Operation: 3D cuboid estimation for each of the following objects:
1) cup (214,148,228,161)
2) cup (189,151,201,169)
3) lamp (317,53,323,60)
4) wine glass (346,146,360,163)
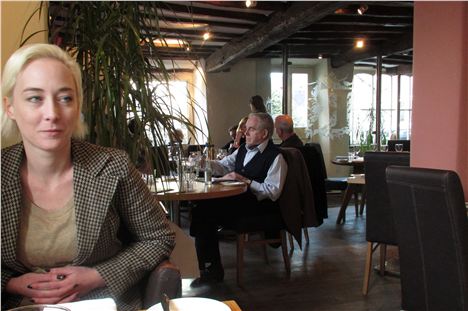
[{"bbox_3d":[-0.155,-0.020,4.589,0.142,0.239,0.143,-1,-2,0],"label":"cup"},{"bbox_3d":[-0.389,0.048,3.715,0.076,0.199,0.146,-11,21,-29],"label":"cup"},{"bbox_3d":[1.676,-1.934,7.139,0.085,0.086,0.097,-26,9,15],"label":"lamp"},{"bbox_3d":[2.117,-0.028,6.355,0.246,0.315,0.849,-1,-2,21],"label":"wine glass"}]
